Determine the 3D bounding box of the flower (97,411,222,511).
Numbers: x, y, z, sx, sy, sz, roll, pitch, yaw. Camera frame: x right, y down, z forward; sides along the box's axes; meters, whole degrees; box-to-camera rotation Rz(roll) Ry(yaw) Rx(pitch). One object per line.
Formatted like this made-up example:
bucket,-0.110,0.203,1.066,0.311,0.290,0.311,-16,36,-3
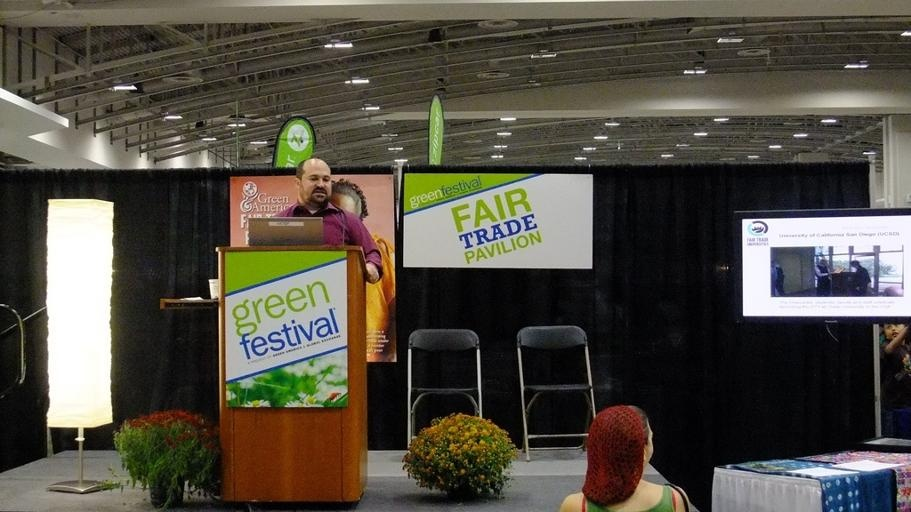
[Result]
flower,-3.318,2.266,10.626,1.329,1.041,1.064,1,-3,-9

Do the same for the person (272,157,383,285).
person,-1.548,-0.378,11.235,1.732,1.442,0.908,0,-7,-11

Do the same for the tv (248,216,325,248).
tv,-1.927,-0.280,10.537,0.826,0.328,0.150,-1,-2,-7

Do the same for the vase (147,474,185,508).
vase,-3.292,2.705,10.719,0.419,0.294,0.359,2,-9,-4

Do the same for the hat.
hat,1.563,1.944,9.083,0.638,0.957,0.210,-2,-2,9

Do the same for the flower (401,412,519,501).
flower,0.082,2.345,11.216,1.113,0.708,1.079,1,-7,-1

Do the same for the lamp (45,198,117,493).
lamp,-4.525,0.760,11.182,0.702,2.882,0.269,0,-2,-22
